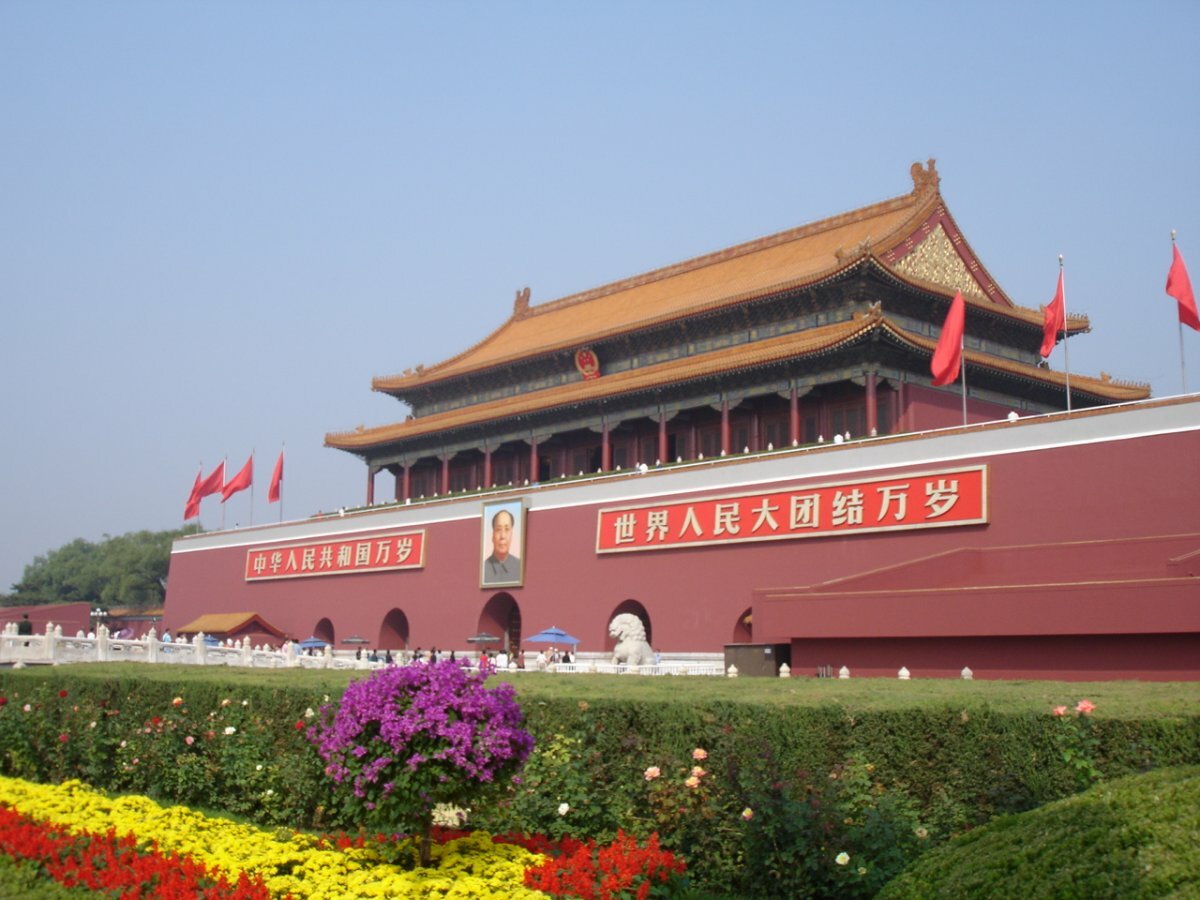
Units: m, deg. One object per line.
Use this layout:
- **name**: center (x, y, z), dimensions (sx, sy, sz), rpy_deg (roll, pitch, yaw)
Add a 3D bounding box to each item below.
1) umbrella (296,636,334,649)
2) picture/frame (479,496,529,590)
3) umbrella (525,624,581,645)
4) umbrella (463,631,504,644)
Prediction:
- **umbrella**: center (-7.929, 5.405, 33.149), dimensions (0.886, 0.258, 0.638), rpy_deg (-7, -9, 32)
- **picture/frame**: center (-2.252, 2.318, 28.828), dimensions (0.278, 2.660, 1.914), rpy_deg (12, -16, -39)
- **umbrella**: center (-1.047, 4.156, 26.738), dimensions (1.159, 0.486, 1.593), rpy_deg (1, -14, -5)
- **umbrella**: center (-2.794, 4.620, 29.236), dimensions (0.939, 0.379, 1.378), rpy_deg (-1, -14, 2)
